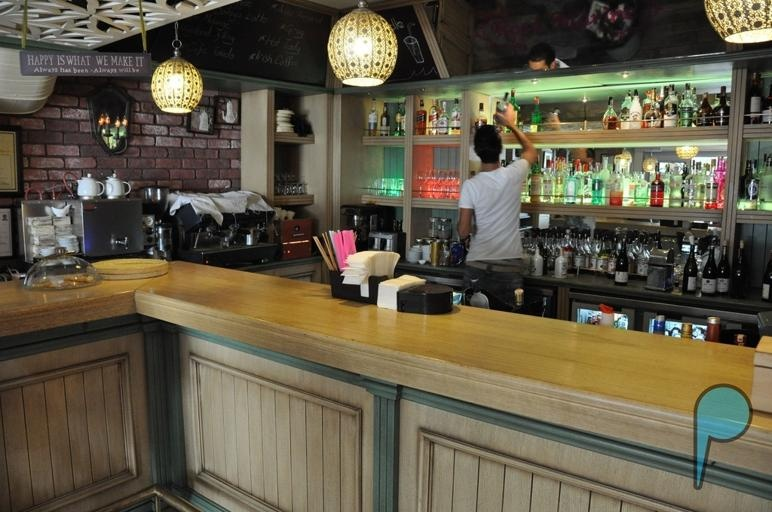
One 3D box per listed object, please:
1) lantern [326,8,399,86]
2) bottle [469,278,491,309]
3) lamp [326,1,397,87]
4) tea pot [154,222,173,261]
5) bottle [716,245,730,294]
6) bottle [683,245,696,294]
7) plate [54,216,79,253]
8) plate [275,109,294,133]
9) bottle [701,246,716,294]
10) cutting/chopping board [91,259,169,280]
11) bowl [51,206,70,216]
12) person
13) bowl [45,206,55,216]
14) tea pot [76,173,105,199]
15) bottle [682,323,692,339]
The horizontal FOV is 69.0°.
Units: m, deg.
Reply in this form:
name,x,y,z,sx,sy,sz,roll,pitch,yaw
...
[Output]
name,x,y,z,sx,sy,sz,roll,pitch,yaw
lantern,-0.075,-1.184,3.228,0.427,0.500,0.418,4,14,15
bottle,0.575,0.229,3.432,0.139,0.109,0.217,-2,7,-2
lamp,-0.059,-1.201,3.227,0.457,0.545,0.447,5,16,19
tea pot,-1.989,-0.137,5.056,0.136,0.307,0.174,-2,14,-17
bottle,2.628,0.099,4.374,0.095,0.384,0.119,9,15,27
bottle,2.462,0.084,4.538,0.110,0.362,0.349,9,15,27
plate,-2.536,-0.168,4.492,0.152,0.288,0.151,-10,18,-41
plate,-1.076,-1.441,6.016,0.218,0.223,0.245,4,8,16
bottle,2.552,0.112,4.420,0.110,0.350,0.217,9,15,29
cutting/chopping board,-1.618,0.068,3.604,0.440,0.093,0.364,-4,14,-26
bowl,-2.585,-0.358,4.491,0.075,0.060,0.094,0,-2,24
person,0.911,-0.394,4.798,0.564,1.395,0.424,4,13,8
bowl,-2.663,-0.367,4.470,0.073,0.066,0.060,-3,-1,40
tea pot,-2.508,-0.582,4.676,0.249,0.231,0.180,4,5,15
bottle,2.265,0.558,4.244,0.074,0.108,0.206,9,15,28
